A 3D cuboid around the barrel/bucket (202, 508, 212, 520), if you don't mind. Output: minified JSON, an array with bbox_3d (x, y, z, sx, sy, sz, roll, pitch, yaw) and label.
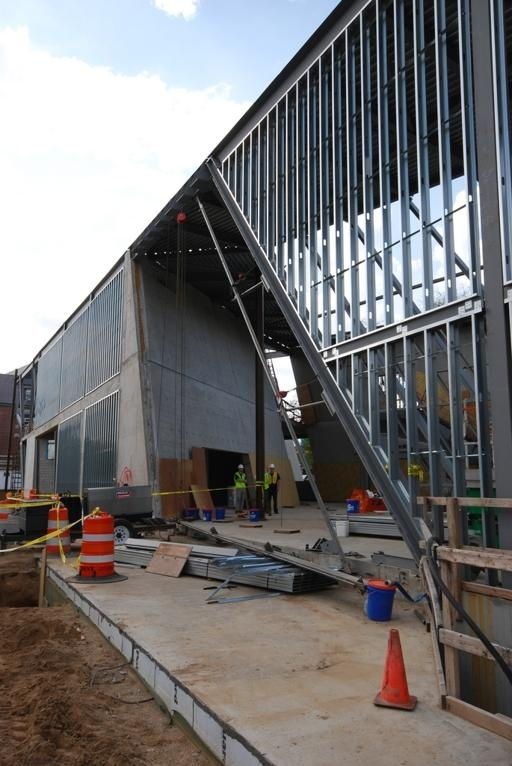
[{"bbox_3d":[-1.631,4.370,17.544,0.295,0.319,0.315,-2,-13,0],"label":"barrel/bucket"}]

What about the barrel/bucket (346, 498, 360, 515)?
[{"bbox_3d":[3.522,4.441,19.060,0.565,0.616,0.601,0,-6,0],"label":"barrel/bucket"}]

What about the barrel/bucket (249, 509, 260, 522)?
[{"bbox_3d":[-0.059,4.259,17.057,0.334,0.434,0.357,-2,-5,0],"label":"barrel/bucket"}]

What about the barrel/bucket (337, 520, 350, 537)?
[{"bbox_3d":[2.304,3.877,14.150,0.352,0.530,0.513,-3,-7,14],"label":"barrel/bucket"}]

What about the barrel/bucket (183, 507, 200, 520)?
[{"bbox_3d":[-2.146,4.363,17.624,0.400,0.332,0.425,-3,-14,-1],"label":"barrel/bucket"}]

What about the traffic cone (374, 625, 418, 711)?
[{"bbox_3d":[0.929,1.906,3.609,0.277,0.539,0.417,-5,-8,14],"label":"traffic cone"}]
